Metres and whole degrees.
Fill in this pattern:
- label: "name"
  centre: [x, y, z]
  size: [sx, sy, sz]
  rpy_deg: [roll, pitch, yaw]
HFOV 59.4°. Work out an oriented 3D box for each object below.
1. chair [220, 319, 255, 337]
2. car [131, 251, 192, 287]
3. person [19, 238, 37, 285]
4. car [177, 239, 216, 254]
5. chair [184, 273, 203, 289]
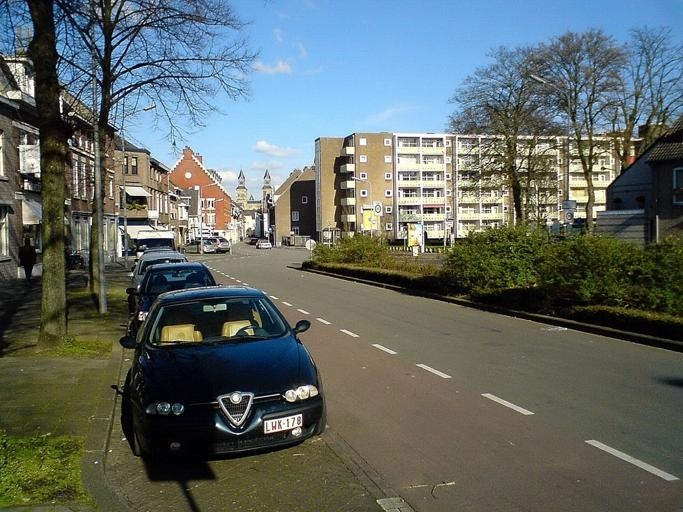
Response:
- label: "chair"
  centre: [-1.391, 0.965, 8.053]
  size: [0.248, 0.190, 0.264]
  rpy_deg: [5, -6, -29]
- label: "car"
  centre: [-5.175, 0.274, 16.760]
  size: [1.001, 0.841, 1.890]
  rpy_deg: [0, -5, -19]
- label: "person"
  centre: [-12.572, 0.164, 24.084]
  size: [0.509, 1.672, 1.877]
  rpy_deg: [-3, 6, -27]
- label: "car"
  centre: [-15.226, -1.166, 64.291]
  size: [2.316, 1.626, 7.494]
  rpy_deg: [-4, 6, -29]
- label: "chair"
  centre: [-3.193, 0.537, 13.025]
  size: [0.307, 0.455, 0.401]
  rpy_deg: [1, -4, -16]
